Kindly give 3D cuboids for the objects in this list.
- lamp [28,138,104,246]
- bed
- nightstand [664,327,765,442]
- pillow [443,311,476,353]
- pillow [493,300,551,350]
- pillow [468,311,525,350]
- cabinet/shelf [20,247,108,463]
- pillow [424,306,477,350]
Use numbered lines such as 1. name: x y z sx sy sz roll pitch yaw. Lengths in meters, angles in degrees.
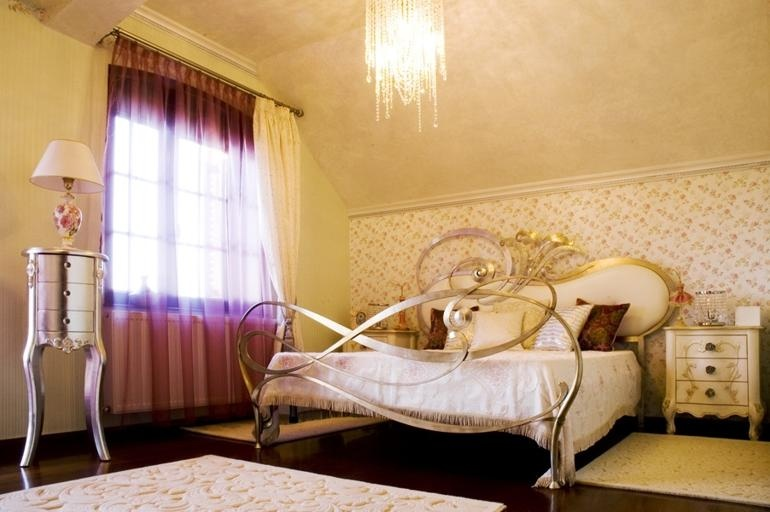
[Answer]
1. lamp: -2.599 -0.515 4.729 0.516 0.869 0.506 -1 -2 40
2. bed: 0.446 0.647 5.691 3.719 2.074 3.580 -2 -3 39
3. nightstand: 3.049 1.171 5.342 0.927 1.130 0.663 -3 -11 28
4. pillow: 0.680 0.687 5.116 0.143 0.546 0.420 9 14 19
5. pillow: 1.340 0.582 5.947 0.551 0.552 0.164 26 -8 -36
6. pillow: 1.066 0.718 5.492 0.429 0.423 0.161 -3 -13 18
7. cabinet/shelf: -2.432 0.757 4.427 0.576 1.630 0.250 1 -2 -32
8. pillow: 0.739 0.864 6.580 0.153 0.570 0.506 12 -11 -24
